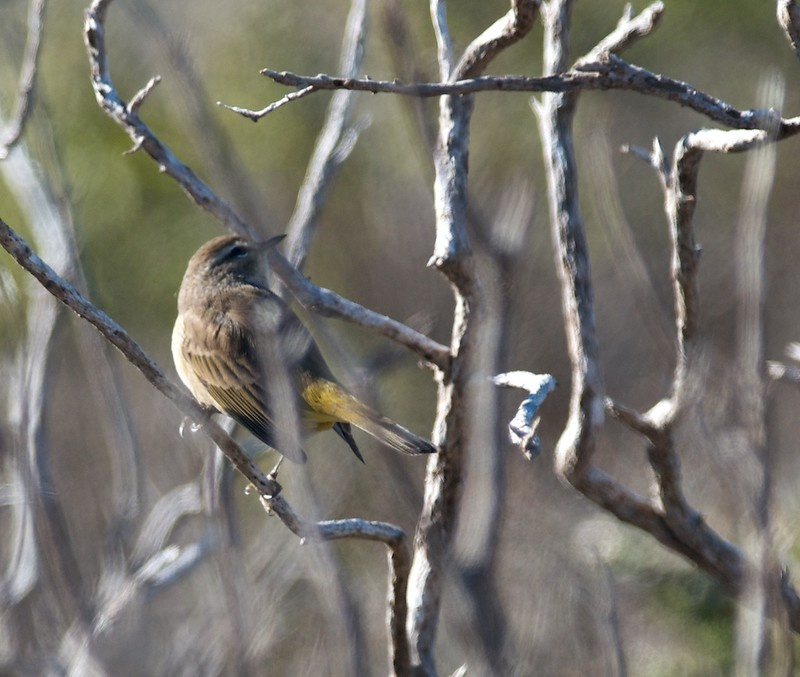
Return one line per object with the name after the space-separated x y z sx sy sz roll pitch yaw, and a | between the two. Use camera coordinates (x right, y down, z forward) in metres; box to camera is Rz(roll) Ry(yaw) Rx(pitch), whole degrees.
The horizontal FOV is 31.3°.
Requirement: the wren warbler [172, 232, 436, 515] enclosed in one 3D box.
-0.306 0.108 4.183 0.865 0.826 0.394 7 -5 30 | wren warbler
